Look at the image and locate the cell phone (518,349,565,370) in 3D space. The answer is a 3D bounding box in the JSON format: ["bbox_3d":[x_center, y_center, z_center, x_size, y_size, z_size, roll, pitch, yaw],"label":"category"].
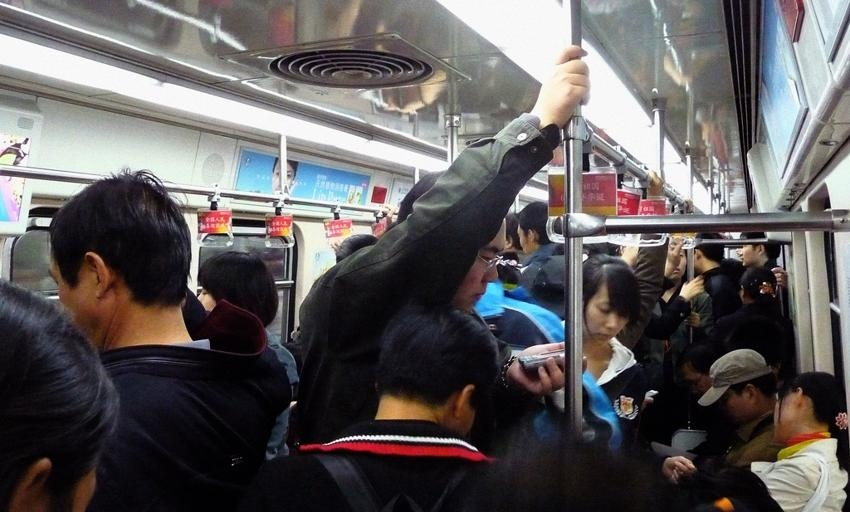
[{"bbox_3d":[0.372,0.319,1.741,0.136,0.028,0.069,-4,3,-10],"label":"cell phone"}]

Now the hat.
[{"bbox_3d":[1.084,0.411,1.989,0.263,0.128,0.169,-26,-7,14],"label":"hat"}]
